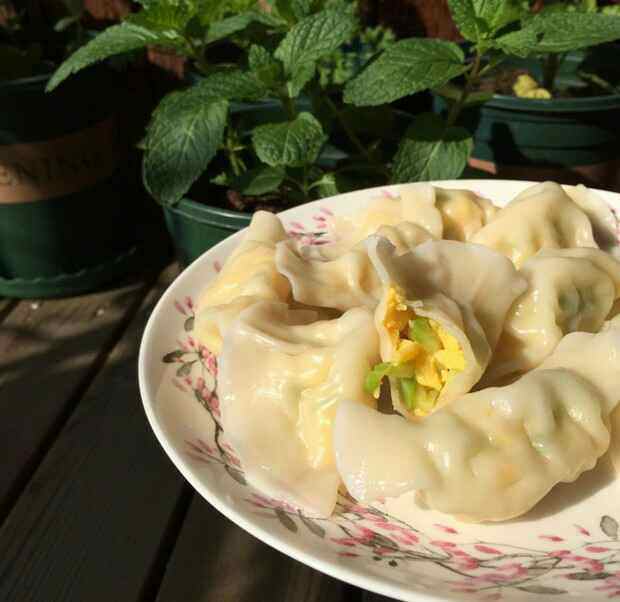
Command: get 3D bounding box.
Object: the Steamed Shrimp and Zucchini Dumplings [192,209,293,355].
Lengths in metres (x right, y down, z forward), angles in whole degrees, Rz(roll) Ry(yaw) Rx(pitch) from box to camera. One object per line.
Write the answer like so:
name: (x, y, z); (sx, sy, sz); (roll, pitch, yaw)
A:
Steamed Shrimp and Zucchini Dumplings: (-0.084, -0.026, 0.842); (0.067, 0.136, 0.185); (36, 40, -16)

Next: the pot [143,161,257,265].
pot: (-0.191, -0.168, 1.199); (0.211, 0.139, 0.186); (-15, 32, -25)

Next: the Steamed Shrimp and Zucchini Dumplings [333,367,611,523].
Steamed Shrimp and Zucchini Dumplings: (0.172, 0.150, 0.615); (0.293, 0.093, 0.124); (-12, 42, -7)

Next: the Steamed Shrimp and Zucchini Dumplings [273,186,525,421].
Steamed Shrimp and Zucchini Dumplings: (0.147, -0.013, 0.820); (0.298, 0.138, 0.332); (2, 42, 19)
